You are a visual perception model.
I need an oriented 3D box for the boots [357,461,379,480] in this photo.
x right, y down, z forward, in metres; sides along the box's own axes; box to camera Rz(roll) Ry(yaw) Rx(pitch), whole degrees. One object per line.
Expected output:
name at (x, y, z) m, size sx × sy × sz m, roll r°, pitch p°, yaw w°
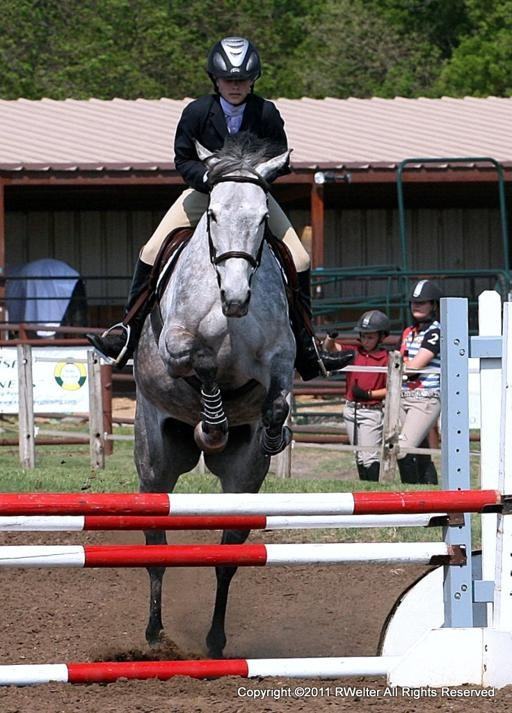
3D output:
boots at (1.012, 1.003, 12.008) m, size 0.085 × 0.225 × 0.160 m, roll -11°, pitch 11°, yaw -41°

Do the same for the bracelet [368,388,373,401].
bracelet at (1.014, 0.341, 11.918) m, size 0.026 × 0.069 × 0.051 m, roll 7°, pitch -13°, yaw -17°

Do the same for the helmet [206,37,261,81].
helmet at (-0.124, -1.679, 7.583) m, size 0.292 × 0.264 × 0.294 m, roll -1°, pitch 3°, yaw -1°

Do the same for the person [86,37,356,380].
person at (-0.228, -0.850, 7.718) m, size 1.388 × 1.969 × 1.020 m, roll 2°, pitch 3°, yaw -3°

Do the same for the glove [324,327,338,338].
glove at (0.477, -0.147, 8.486) m, size 0.054 × 0.096 × 0.174 m, roll 2°, pitch 2°, yaw 3°
